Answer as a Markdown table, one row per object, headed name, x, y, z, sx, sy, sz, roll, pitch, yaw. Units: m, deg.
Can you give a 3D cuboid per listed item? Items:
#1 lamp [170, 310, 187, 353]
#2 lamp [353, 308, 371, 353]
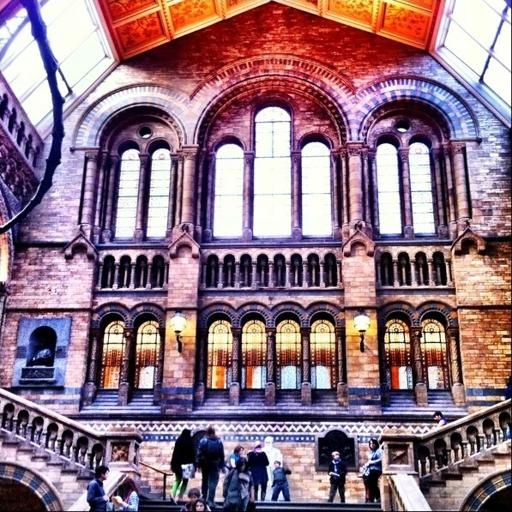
| name | x | y | z | sx | sy | sz | roll | pitch | yaw |
| --- | --- | --- | --- | --- | --- | --- | --- | --- | --- |
| lamp | -2.356 | 2.170 | 17.503 | 0.459 | 1.250 | 0.917 | 4 | -27 | -6 |
| lamp | 3.122 | 2.047 | 17.138 | 0.463 | 1.277 | 0.885 | -4 | -27 | 10 |
